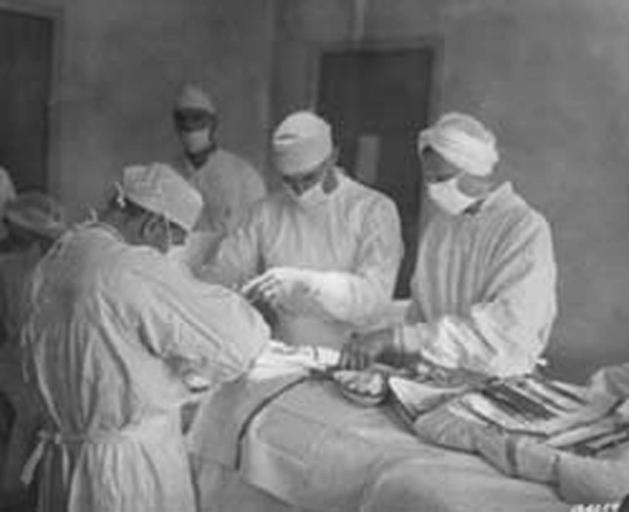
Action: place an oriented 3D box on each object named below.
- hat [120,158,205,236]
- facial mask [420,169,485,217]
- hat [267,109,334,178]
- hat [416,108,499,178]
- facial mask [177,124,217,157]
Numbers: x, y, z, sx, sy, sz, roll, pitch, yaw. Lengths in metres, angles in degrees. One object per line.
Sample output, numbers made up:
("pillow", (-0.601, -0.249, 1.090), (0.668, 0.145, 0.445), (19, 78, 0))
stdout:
("hat", (-0.478, -0.178, 2.801), (0.270, 0.141, 0.179), (30, 50, -6))
("facial mask", (0.416, -0.197, 2.634), (0.127, 0.085, 0.138), (14, 15, 19))
("hat", (-0.049, -0.344, 2.662), (0.198, 0.154, 0.163), (9, 16, 19))
("hat", (0.428, -0.343, 2.694), (0.224, 0.174, 0.086), (29, -5, -6))
("facial mask", (-0.378, -0.361, 2.733), (0.078, 0.072, 0.089), (-1, -9, 3))
